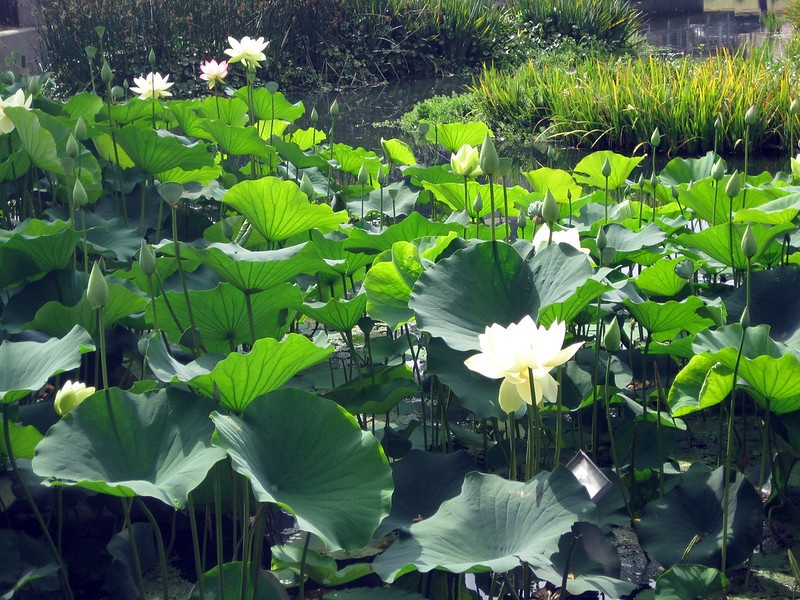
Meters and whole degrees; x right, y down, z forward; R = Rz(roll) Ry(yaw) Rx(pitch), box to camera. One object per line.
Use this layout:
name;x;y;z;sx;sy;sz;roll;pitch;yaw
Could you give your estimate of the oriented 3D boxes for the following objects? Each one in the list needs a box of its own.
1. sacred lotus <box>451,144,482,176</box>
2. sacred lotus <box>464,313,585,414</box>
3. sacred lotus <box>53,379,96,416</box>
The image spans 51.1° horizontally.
sacred lotus;0.278;-0.584;3.500;0.116;0.161;0.180;3;18;3
sacred lotus;0.396;0.188;2.638;0.298;0.258;0.293;-18;36;-23
sacred lotus;-1.096;0.333;2.823;0.126;0.109;0.138;5;19;9
